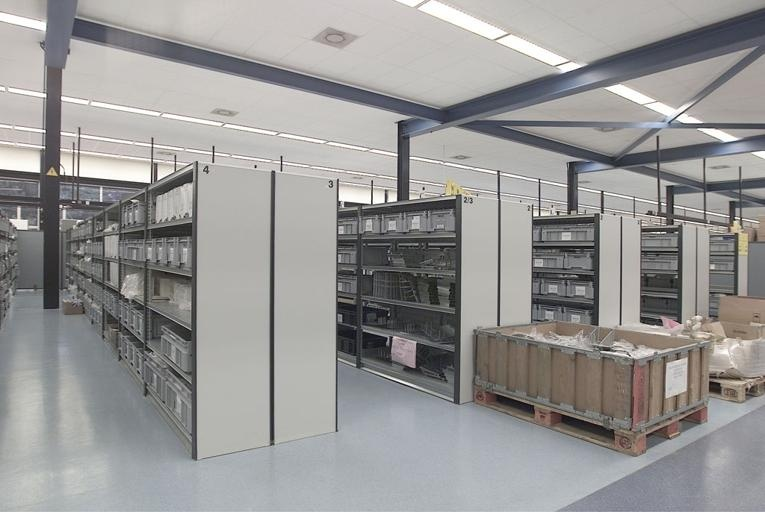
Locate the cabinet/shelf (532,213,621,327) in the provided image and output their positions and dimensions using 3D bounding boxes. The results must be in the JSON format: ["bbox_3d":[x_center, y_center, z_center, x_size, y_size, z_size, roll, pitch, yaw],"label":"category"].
[{"bbox_3d":[3.001,0.221,7.461,0.796,1.676,1.931,-2,1,-34],"label":"cabinet/shelf"}]

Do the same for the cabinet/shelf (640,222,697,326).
[{"bbox_3d":[5.124,0.343,8.794,0.890,1.786,0.752,4,4,39],"label":"cabinet/shelf"}]

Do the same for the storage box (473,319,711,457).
[{"bbox_3d":[2.219,1.420,5.660,1.731,0.697,1.699,1,-2,-37],"label":"storage box"}]

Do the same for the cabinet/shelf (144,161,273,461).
[{"bbox_3d":[-1.503,0.542,4.924,0.750,2.895,0.290,1,3,-15],"label":"cabinet/shelf"}]

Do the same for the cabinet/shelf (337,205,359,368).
[{"bbox_3d":[-0.529,0.424,7.824,0.363,2.457,1.125,1,3,-5],"label":"cabinet/shelf"}]

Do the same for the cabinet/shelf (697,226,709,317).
[{"bbox_3d":[5.783,0.279,8.805,0.522,1.589,0.168,-2,4,-45],"label":"cabinet/shelf"}]

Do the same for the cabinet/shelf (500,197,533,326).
[{"bbox_3d":[1.775,0.094,6.498,0.578,1.616,0.165,-1,4,-39],"label":"cabinet/shelf"}]

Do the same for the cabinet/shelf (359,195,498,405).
[{"bbox_3d":[0.568,0.489,6.910,0.821,2.560,2.088,-1,4,-40],"label":"cabinet/shelf"}]
